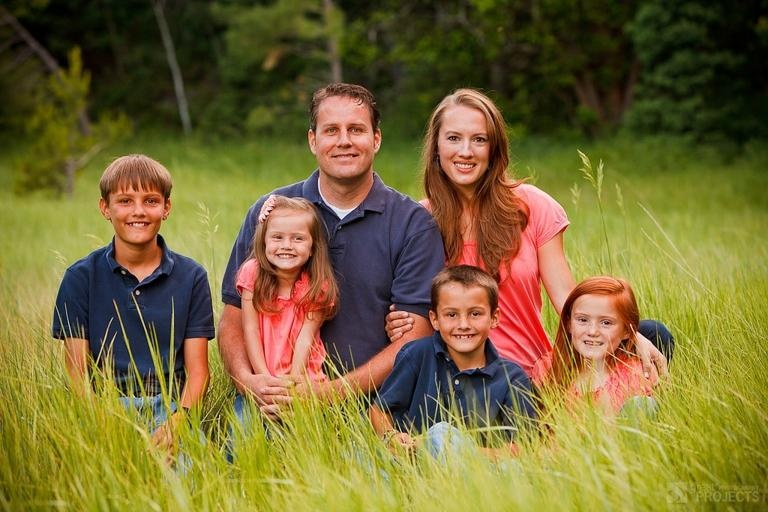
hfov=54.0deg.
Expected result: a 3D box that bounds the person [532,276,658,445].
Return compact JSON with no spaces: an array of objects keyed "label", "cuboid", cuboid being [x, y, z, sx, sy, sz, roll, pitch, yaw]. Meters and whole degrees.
[{"label":"person","cuboid":[1.525,0.626,5.536,1.237,1.347,0.795,1,-5,17]}]

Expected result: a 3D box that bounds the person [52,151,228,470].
[{"label":"person","cuboid":[-1.777,0.291,5.328,1.064,2.029,0.571,1,4,7]}]

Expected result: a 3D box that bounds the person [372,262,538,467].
[{"label":"person","cuboid":[0.482,0.786,5.793,1.285,1.851,1.130,2,-6,2]}]

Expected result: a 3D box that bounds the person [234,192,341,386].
[{"label":"person","cuboid":[-0.776,0.346,5.568,0.778,1.522,0.806,11,17,17]}]
